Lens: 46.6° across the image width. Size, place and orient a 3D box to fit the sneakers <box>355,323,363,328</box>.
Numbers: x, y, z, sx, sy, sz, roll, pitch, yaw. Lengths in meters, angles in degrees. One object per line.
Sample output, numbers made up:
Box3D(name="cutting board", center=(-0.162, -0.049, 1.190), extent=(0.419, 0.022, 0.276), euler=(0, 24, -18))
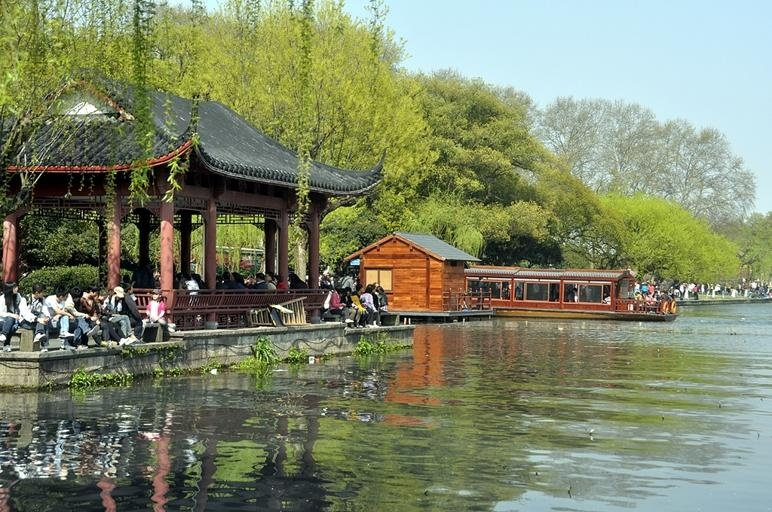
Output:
Box3D(name="sneakers", center=(-0.987, 2.608, 33.940), extent=(0.108, 0.149, 0.327), euler=(11, -8, 12))

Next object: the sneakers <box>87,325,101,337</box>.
Box3D(name="sneakers", center=(-7.858, 2.009, 24.143), extent=(0.263, 0.375, 0.173), euler=(19, -25, 42))

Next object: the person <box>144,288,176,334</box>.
Box3D(name="person", center=(-6.651, 1.515, 25.727), extent=(0.819, 1.017, 0.724), euler=(5, 4, 29))

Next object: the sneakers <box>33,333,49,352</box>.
Box3D(name="sneakers", center=(-8.854, 2.194, 22.897), extent=(0.219, 0.292, 0.658), euler=(13, -38, -20))

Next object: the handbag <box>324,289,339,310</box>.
Box3D(name="handbag", center=(-2.030, 1.699, 33.353), extent=(0.588, 0.766, 0.955), euler=(0, 6, -7))
